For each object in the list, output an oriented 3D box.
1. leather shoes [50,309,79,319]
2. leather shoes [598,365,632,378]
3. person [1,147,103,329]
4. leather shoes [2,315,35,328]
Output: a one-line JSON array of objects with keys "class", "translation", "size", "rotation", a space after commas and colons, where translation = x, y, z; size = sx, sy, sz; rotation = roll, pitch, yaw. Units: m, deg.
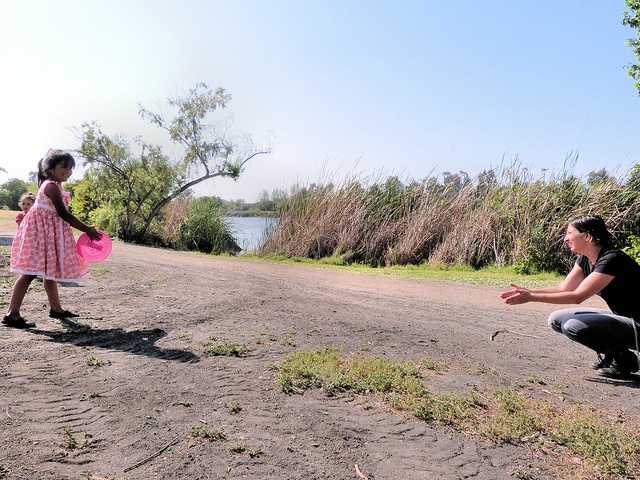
[{"class": "leather shoes", "translation": [-3.189, 0.924, 5.765], "size": [0.350, 0.122, 0.115], "rotation": [3, 3, -23]}, {"class": "leather shoes", "translation": [3.164, 1.446, 4.997], "size": [0.313, 0.144, 0.128], "rotation": [2, -2, 27]}, {"class": "person", "translation": [-3.213, -0.032, 5.486], "size": [0.892, 2.091, 0.535], "rotation": [1, 5, -34]}, {"class": "leather shoes", "translation": [-3.494, 0.960, 5.390], "size": [0.379, 0.144, 0.134], "rotation": [4, 1, -17]}]
